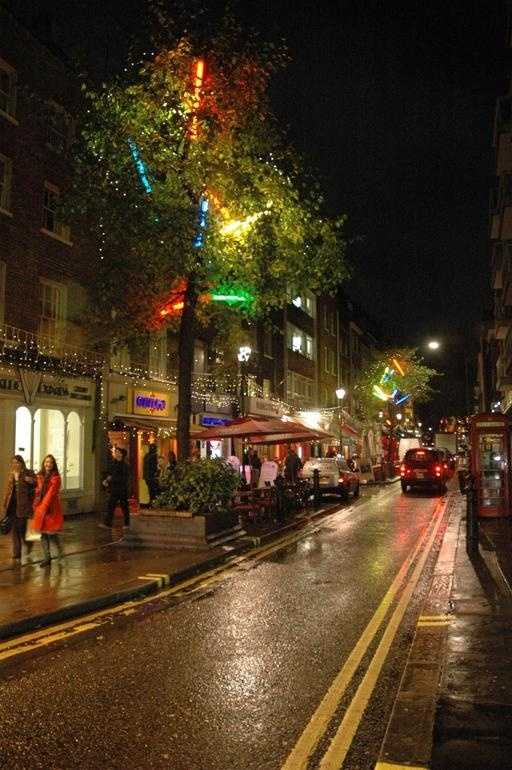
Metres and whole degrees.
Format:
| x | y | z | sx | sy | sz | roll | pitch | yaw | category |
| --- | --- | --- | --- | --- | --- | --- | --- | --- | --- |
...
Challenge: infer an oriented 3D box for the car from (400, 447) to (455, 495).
| x | y | z | sx | sy | sz | roll | pitch | yaw | category |
| --- | --- | --- | --- | --- | --- | --- | --- | --- | --- |
| 7.564 | 3.807 | 29.003 | 1.654 | 1.560 | 2.965 | 0 | 6 | 18 | car |

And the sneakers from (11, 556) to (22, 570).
| x | y | z | sx | sy | sz | roll | pitch | yaw | category |
| --- | --- | --- | --- | --- | --- | --- | --- | --- | --- |
| -3.641 | 2.694 | 9.809 | 0.089 | 0.173 | 0.088 | 0 | -6 | -26 | sneakers |

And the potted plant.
| x | y | z | sx | sy | sz | roll | pitch | yaw | category |
| --- | --- | --- | --- | --- | --- | --- | --- | --- | --- |
| -1.372 | 2.290 | 12.018 | 1.377 | 1.286 | 2.030 | -3 | -7 | 19 | potted plant |

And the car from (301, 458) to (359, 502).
| x | y | z | sx | sy | sz | roll | pitch | yaw | category |
| --- | --- | --- | --- | --- | --- | --- | --- | --- | --- |
| 2.973 | 3.377 | 23.888 | 1.110 | 0.877 | 2.568 | -2 | -2 | 21 | car |

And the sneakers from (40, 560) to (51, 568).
| x | y | z | sx | sy | sz | roll | pitch | yaw | category |
| --- | --- | --- | --- | --- | --- | --- | --- | --- | --- |
| -3.078 | 2.609 | 9.503 | 0.067 | 0.089 | 0.222 | -4 | -11 | 17 | sneakers |

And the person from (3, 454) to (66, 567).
| x | y | z | sx | sy | sz | roll | pitch | yaw | category |
| --- | --- | --- | --- | --- | --- | --- | --- | --- | --- |
| -3.511 | 1.930 | 10.160 | 0.919 | 1.639 | 1.725 | 2 | -6 | -17 | person |
